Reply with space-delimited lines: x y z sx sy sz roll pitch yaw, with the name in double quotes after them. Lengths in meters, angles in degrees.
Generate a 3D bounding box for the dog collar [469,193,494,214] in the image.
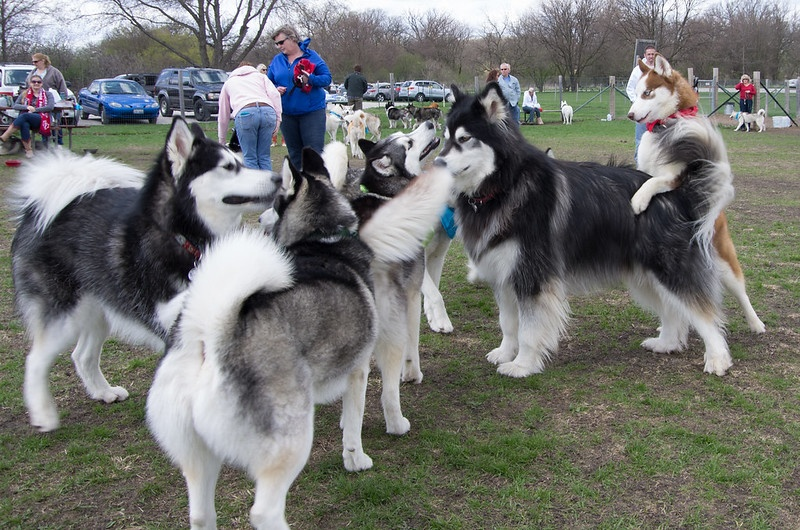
0.717 -0.564 5.910 0.143 0.185 0.057 -1 39 5 "dog collar"

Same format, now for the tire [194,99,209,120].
-6.681 -5.285 22.620 0.305 0.899 0.851 -3 2 -33 "tire"

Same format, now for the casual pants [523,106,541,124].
5.182 -5.799 25.878 0.471 0.305 1.088 2 23 3 "casual pants"

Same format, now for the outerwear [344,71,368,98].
-1.382 -5.849 21.797 0.691 0.791 0.605 -7 17 -20 "outerwear"

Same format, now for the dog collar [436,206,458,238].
0.465 -0.390 6.349 0.164 0.271 0.133 -2 7 -27 "dog collar"

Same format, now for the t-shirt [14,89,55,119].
-7.318 -3.242 13.756 0.685 0.735 0.274 -1 -14 -5 "t-shirt"

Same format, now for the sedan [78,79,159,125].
-9.543 -5.545 22.710 1.432 1.112 3.158 -5 14 -29 "sedan"

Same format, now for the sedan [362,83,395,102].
-1.252 -9.925 38.730 1.308 0.947 2.242 -3 17 -7 "sedan"

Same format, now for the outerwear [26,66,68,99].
-7.434 -3.897 14.162 0.799 0.654 0.426 9 26 6 "outerwear"

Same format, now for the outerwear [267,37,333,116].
-1.305 -2.471 8.806 0.800 0.960 0.534 -2 16 -4 "outerwear"
